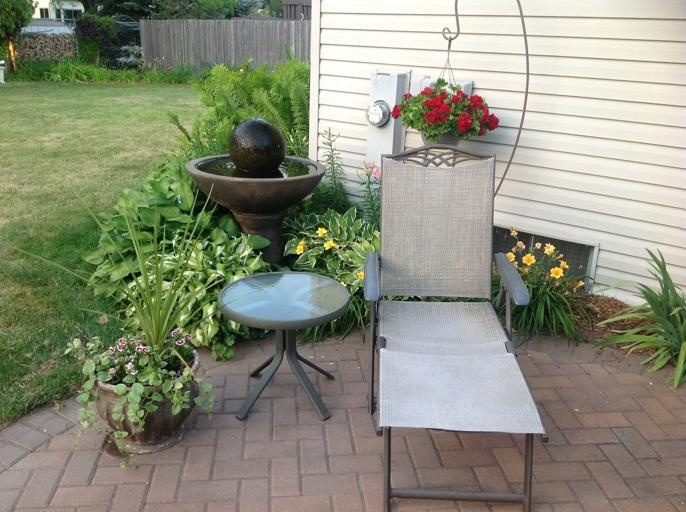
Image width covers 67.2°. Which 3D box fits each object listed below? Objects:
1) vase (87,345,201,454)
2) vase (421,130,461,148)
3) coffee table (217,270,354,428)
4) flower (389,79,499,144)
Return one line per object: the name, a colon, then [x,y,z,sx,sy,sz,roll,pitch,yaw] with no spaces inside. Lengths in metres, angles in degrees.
vase: [-1.051,0.811,2.882,0.557,0.335,0.524,6,11,21]
vase: [0.820,-0.953,4.215,0.356,0.146,0.324,-4,13,-14]
coffee table: [-0.321,0.565,3.427,0.955,0.641,0.861,1,18,1]
flower: [0.828,-1.204,4.340,0.809,0.428,0.701,-16,26,-34]
